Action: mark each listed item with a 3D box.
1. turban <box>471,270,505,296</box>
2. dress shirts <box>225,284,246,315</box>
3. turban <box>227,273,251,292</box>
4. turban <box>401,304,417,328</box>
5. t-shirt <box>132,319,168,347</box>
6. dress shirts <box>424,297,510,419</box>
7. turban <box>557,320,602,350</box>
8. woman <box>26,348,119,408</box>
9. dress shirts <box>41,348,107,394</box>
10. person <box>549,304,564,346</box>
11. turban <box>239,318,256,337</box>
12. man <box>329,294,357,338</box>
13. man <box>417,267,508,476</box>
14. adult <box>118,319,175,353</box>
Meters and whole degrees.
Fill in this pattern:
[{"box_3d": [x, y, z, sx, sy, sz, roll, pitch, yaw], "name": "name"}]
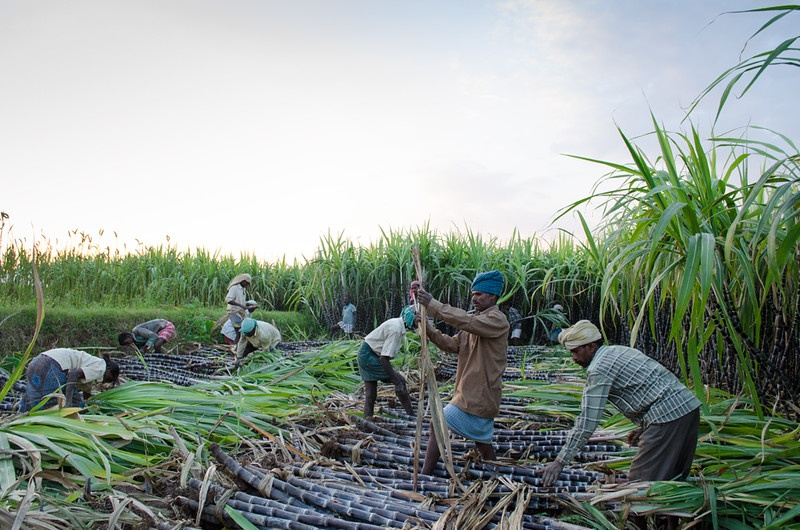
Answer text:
[{"box_3d": [0.688, 0.158, 4.445, 0.204, 0.171, 0.204, 12, -9, -13], "name": "turban"}, {"box_3d": [-2.748, 0.584, 9.402, 0.290, 0.503, 0.505, -8, -8, 16], "name": "dress shirts"}, {"box_3d": [-2.767, 0.272, 9.538, 0.415, 0.233, 0.317, -15, 1, -1], "name": "turban"}, {"box_3d": [0.096, 0.532, 5.818, 0.203, 0.250, 0.259, -5, -12, 0], "name": "turban"}, {"box_3d": [-3.840, 1.023, 8.596, 0.407, 0.290, 0.496, 2, 10, 40], "name": "t-shirt"}, {"box_3d": [0.476, 0.786, 4.466, 0.771, 0.941, 0.720, -1, -23, 20], "name": "dress shirts"}, {"box_3d": [1.275, 0.495, 4.004, 0.257, 0.160, 0.205, -14, 13, 7], "name": "turban"}, {"box_3d": [-3.134, 1.121, 5.332, 0.611, 0.591, 0.903, 4, -7, 44], "name": "woman"}, {"box_3d": [-2.981, 0.918, 5.169, 0.421, 0.199, 0.427, 25, -11, -32], "name": "dress shirts"}, {"box_3d": [2.228, 0.843, 7.986, 0.163, 0.621, 0.402, 7, -18, -8], "name": "person"}, {"box_3d": [-2.037, 0.813, 7.487, 0.226, 0.174, 0.129, 27, -11, 33], "name": "turban"}, {"box_3d": [-0.943, 0.921, 9.730, 0.402, 0.772, 0.272, 2, 14, 3], "name": "man"}, {"box_3d": [0.536, 0.945, 4.730, 0.985, 1.525, 0.613, 14, -43, 0], "name": "man"}, {"box_3d": [-3.897, 1.177, 8.635, 0.844, 0.602, 0.401, -4, -3, -44], "name": "adult"}]
